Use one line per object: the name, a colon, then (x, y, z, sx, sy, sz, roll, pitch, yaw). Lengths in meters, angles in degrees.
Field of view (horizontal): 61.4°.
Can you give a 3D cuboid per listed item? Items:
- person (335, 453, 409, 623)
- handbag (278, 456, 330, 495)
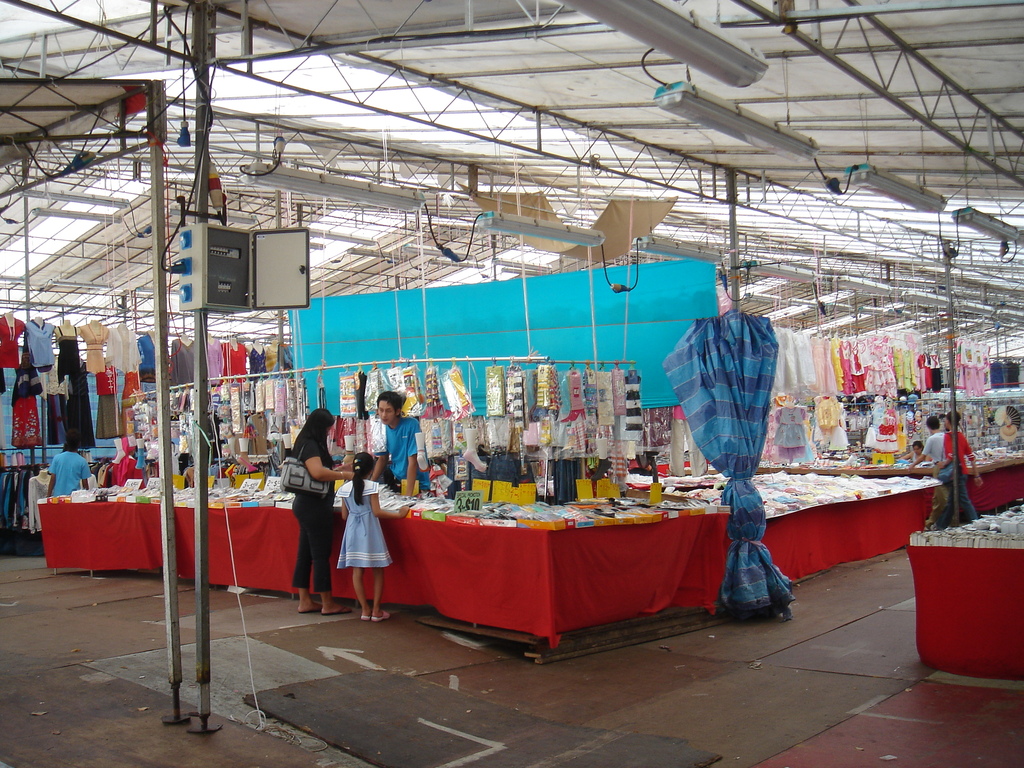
person: (-1.387, 1.423, 8.158, 0.637, 1.032, 0.485, -1, 1, 39)
handbag: (-1.921, 0.834, 7.946, 0.467, 0.388, 0.185, 1, -8, -4)
